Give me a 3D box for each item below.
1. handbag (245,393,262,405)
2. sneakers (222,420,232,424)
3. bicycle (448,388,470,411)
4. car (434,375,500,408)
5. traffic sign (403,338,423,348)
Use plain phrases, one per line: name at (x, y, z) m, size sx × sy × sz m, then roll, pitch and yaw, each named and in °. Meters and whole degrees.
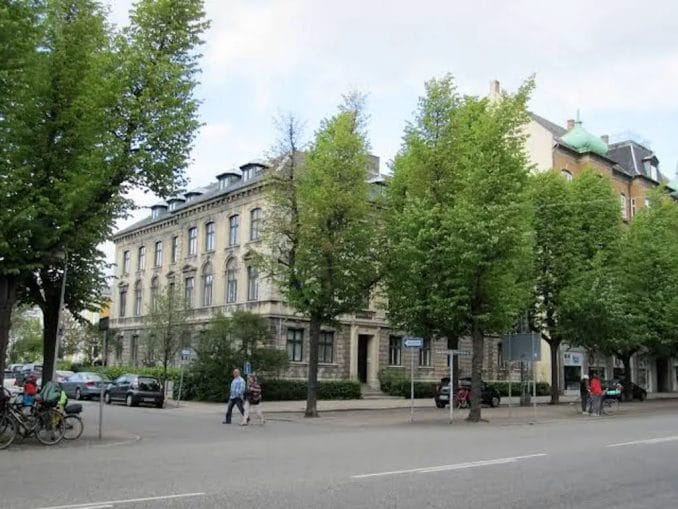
handbag at (-3.388, 5.574, 26.573) m, size 0.634 × 0.622 × 0.359 m, roll 1°, pitch -15°, yaw -1°
sneakers at (-4.447, 6.541, 26.307) m, size 0.292 × 0.126 × 0.110 m, roll 5°, pitch -14°, yaw 6°
bicycle at (6.555, 7.629, 35.809) m, size 0.704 × 1.076 × 1.065 m, roll 0°, pitch -14°, yaw 2°
car at (7.311, 7.959, 37.320) m, size 3.360 × 1.514 × 2.034 m, roll 1°, pitch -9°, yaw -25°
traffic sign at (3.058, 3.562, 27.548) m, size 0.703 × 0.451 × 1.151 m, roll -2°, pitch -15°, yaw 7°
